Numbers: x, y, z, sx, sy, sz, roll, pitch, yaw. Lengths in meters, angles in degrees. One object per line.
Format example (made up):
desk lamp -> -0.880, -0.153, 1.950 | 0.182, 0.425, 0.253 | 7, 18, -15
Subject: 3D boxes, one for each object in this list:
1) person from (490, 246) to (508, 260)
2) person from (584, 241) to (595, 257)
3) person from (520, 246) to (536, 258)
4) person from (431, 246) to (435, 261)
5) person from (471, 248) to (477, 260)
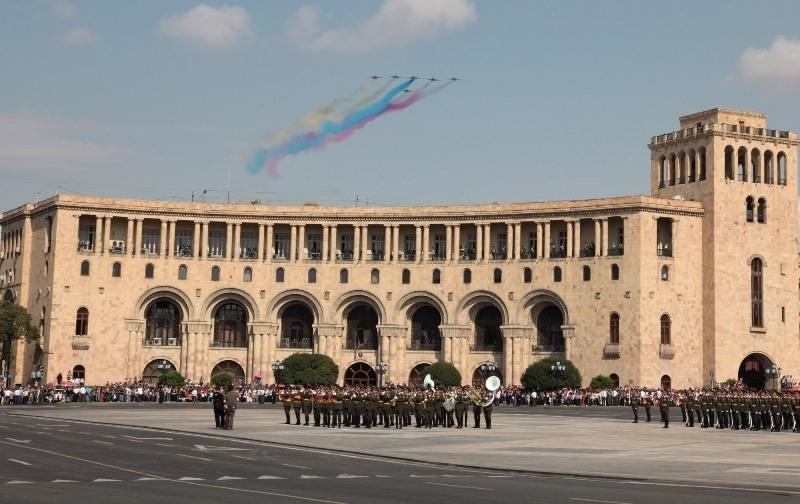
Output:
person -> 9.827, 0.135, 126.999 | 1.297, 1.129, 1.210 | 0, -7, 1
person -> 18.467, -0.321, 124.403 | 0.962, 1.450, 1.656 | 0, 2, -16
person -> 12.675, 0.057, 126.251 | 1.272, 0.716, 1.218 | 0, -2, -1
person -> 3.417, 0.149, 128.760 | 0.557, 1.153, 1.333 | 0, 2, 1
person -> 7.434, 0.225, 127.536 | 0.473, 1.010, 1.295 | 0, 2, 4
